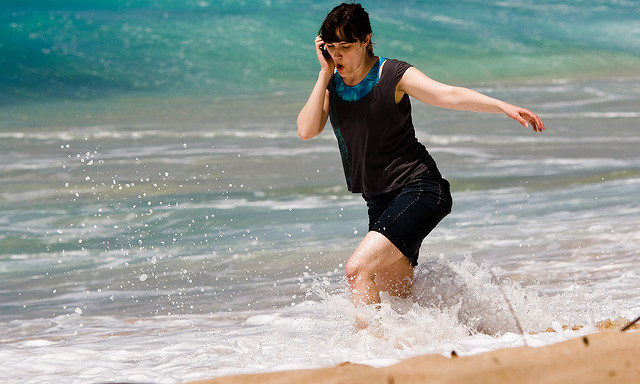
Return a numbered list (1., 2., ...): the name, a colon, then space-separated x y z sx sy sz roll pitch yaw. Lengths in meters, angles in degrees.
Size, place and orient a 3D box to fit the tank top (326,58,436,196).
1. tank top: 1.223 -1.194 16.708 1.314 2.578 1.686 -14 40 -30
